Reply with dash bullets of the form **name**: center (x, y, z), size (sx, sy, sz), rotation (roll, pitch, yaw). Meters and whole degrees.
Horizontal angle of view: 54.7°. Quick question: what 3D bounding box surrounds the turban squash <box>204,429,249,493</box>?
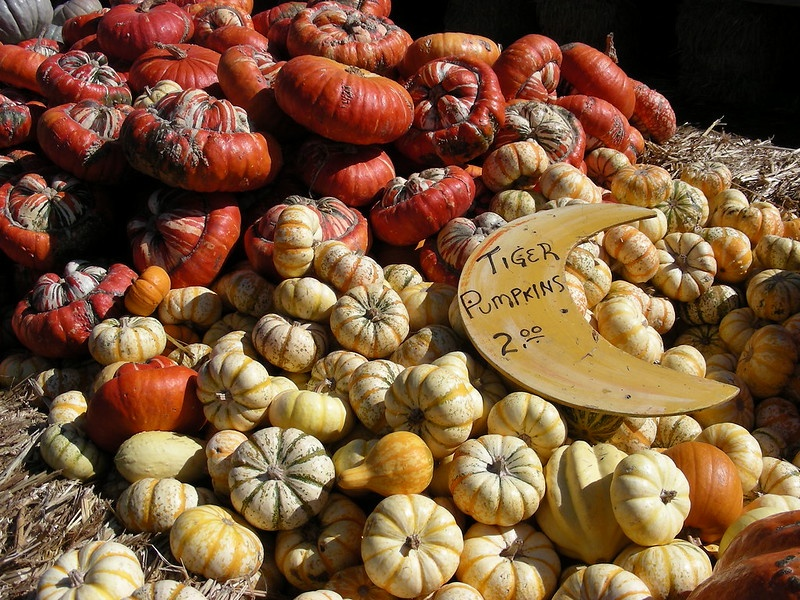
- **turban squash**: center (-1.150, 1.059, 5.104), size (0.294, 0.339, 0.367), rotation (-4, 82, -15)

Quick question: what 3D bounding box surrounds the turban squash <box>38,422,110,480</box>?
- **turban squash**: center (-2.220, 1.029, 5.244), size (0.347, 0.218, 0.358), rotation (13, 16, -33)

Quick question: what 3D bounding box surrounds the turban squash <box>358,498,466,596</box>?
- **turban squash**: center (0.076, 1.450, 4.580), size (0.602, 0.308, 0.505), rotation (6, 48, -2)

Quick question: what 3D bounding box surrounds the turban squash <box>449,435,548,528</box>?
- **turban squash**: center (0.592, 1.066, 4.709), size (0.461, 0.415, 0.546), rotation (9, 56, 10)

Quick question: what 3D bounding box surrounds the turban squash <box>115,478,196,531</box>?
- **turban squash**: center (-1.554, 1.290, 4.860), size (0.341, 0.349, 0.245), rotation (-1, 89, -13)

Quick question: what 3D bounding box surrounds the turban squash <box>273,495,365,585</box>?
- **turban squash**: center (-0.482, 1.496, 4.750), size (0.456, 0.286, 0.496), rotation (-10, 37, 13)

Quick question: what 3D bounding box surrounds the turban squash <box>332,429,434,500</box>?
- **turban squash**: center (-0.106, 1.068, 4.874), size (0.619, 0.435, 0.467), rotation (-7, 92, -23)

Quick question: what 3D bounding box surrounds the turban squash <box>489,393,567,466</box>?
- **turban squash**: center (0.819, 0.794, 4.927), size (0.423, 0.427, 0.253), rotation (41, 46, -15)

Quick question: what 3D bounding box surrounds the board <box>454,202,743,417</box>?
- **board**: center (1.096, 0.138, 4.899), size (1.274, 0.066, 1.559), rotation (5, 45, 6)

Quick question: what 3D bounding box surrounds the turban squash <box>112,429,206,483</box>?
- **turban squash**: center (-1.569, 1.031, 5.075), size (0.525, 0.319, 0.328), rotation (8, 60, -26)
